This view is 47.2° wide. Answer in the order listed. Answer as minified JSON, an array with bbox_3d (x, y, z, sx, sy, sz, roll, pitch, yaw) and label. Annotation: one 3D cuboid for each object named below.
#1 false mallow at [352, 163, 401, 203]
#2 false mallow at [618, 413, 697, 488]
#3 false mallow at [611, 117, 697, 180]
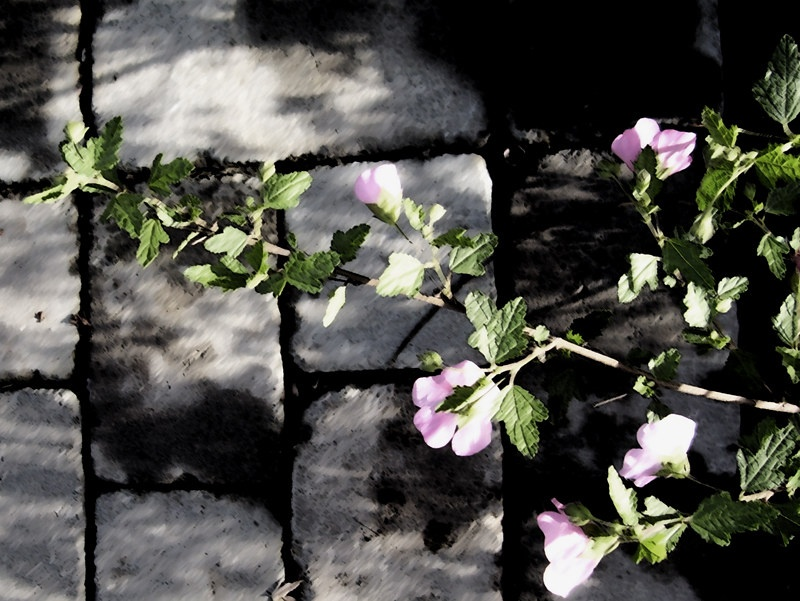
[{"bbox_3d":[-0.045,-0.224,1.780,0.080,0.072,0.075,-42,80,23],"label":"false mallow"},{"bbox_3d":[0.512,0.293,1.832,0.130,0.065,0.138,-40,57,11],"label":"false mallow"},{"bbox_3d":[0.531,-0.314,1.954,0.138,0.103,0.134,-32,63,-17],"label":"false mallow"}]
